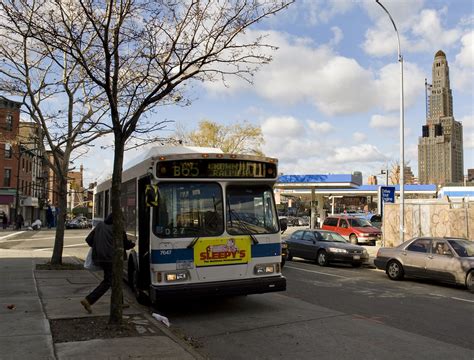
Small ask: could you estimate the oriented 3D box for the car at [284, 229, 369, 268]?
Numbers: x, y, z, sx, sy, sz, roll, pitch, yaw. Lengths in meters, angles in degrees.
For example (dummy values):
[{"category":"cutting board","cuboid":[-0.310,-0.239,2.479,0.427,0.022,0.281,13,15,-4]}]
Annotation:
[{"category":"car","cuboid":[3.560,3.051,19.776,1.653,1.228,3.876,5,-10,-28]}]
